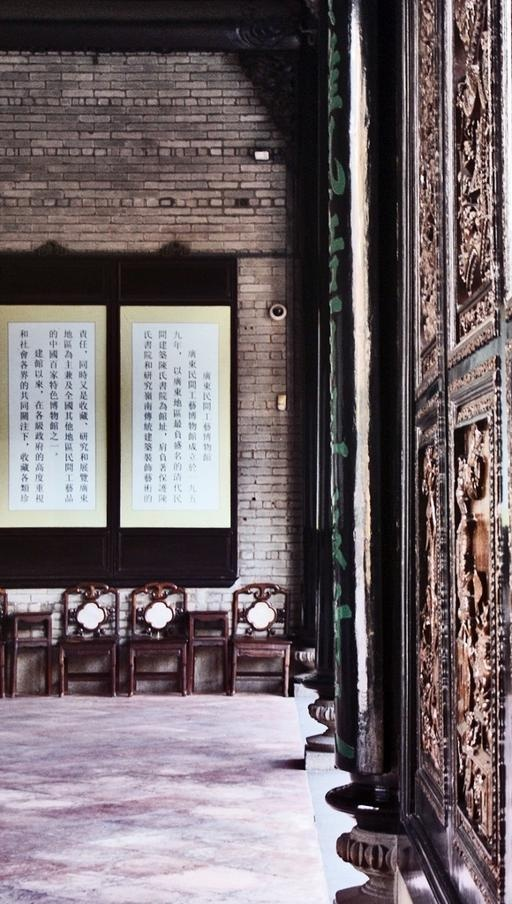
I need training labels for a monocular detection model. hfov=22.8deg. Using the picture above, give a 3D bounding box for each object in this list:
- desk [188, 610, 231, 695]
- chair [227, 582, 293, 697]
[{"bbox_3d":[-0.250,1.007,6.492,0.189,0.465,0.225,1,5,10],"label":"desk"},{"bbox_3d":[0.019,0.945,6.340,0.314,0.546,0.342,0,-1,3],"label":"chair"}]
